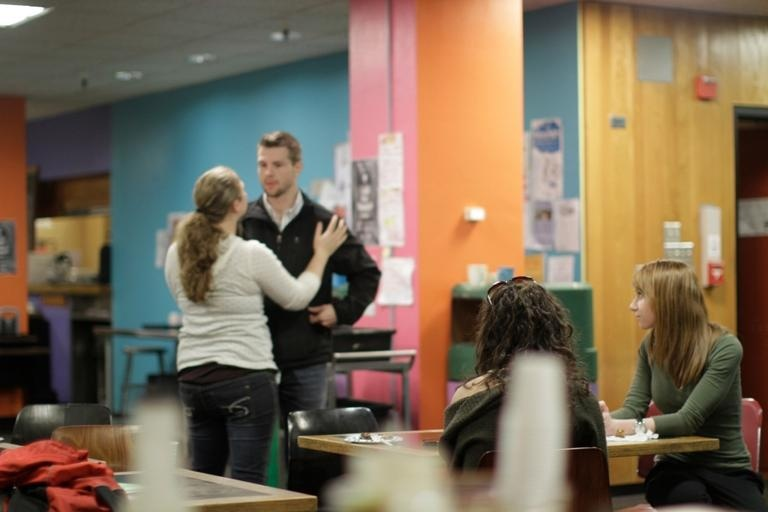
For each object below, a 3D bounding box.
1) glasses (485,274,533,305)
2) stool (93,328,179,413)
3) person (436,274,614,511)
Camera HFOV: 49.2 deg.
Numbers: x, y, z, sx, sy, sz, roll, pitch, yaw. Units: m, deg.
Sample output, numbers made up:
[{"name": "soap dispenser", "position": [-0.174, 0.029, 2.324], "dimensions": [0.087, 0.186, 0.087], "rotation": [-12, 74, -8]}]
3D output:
[{"name": "glasses", "position": [0.481, 0.158, 3.475], "dimensions": [0.156, 0.154, 0.046], "rotation": [-6, 0, -20]}, {"name": "stool", "position": [-2.297, 1.156, 8.213], "dimensions": [1.063, 1.002, 0.806], "rotation": [1, -4, -22]}, {"name": "person", "position": [0.468, 0.526, 3.486], "dimensions": [0.885, 1.191, 0.642], "rotation": [-1, 0, -3]}]
